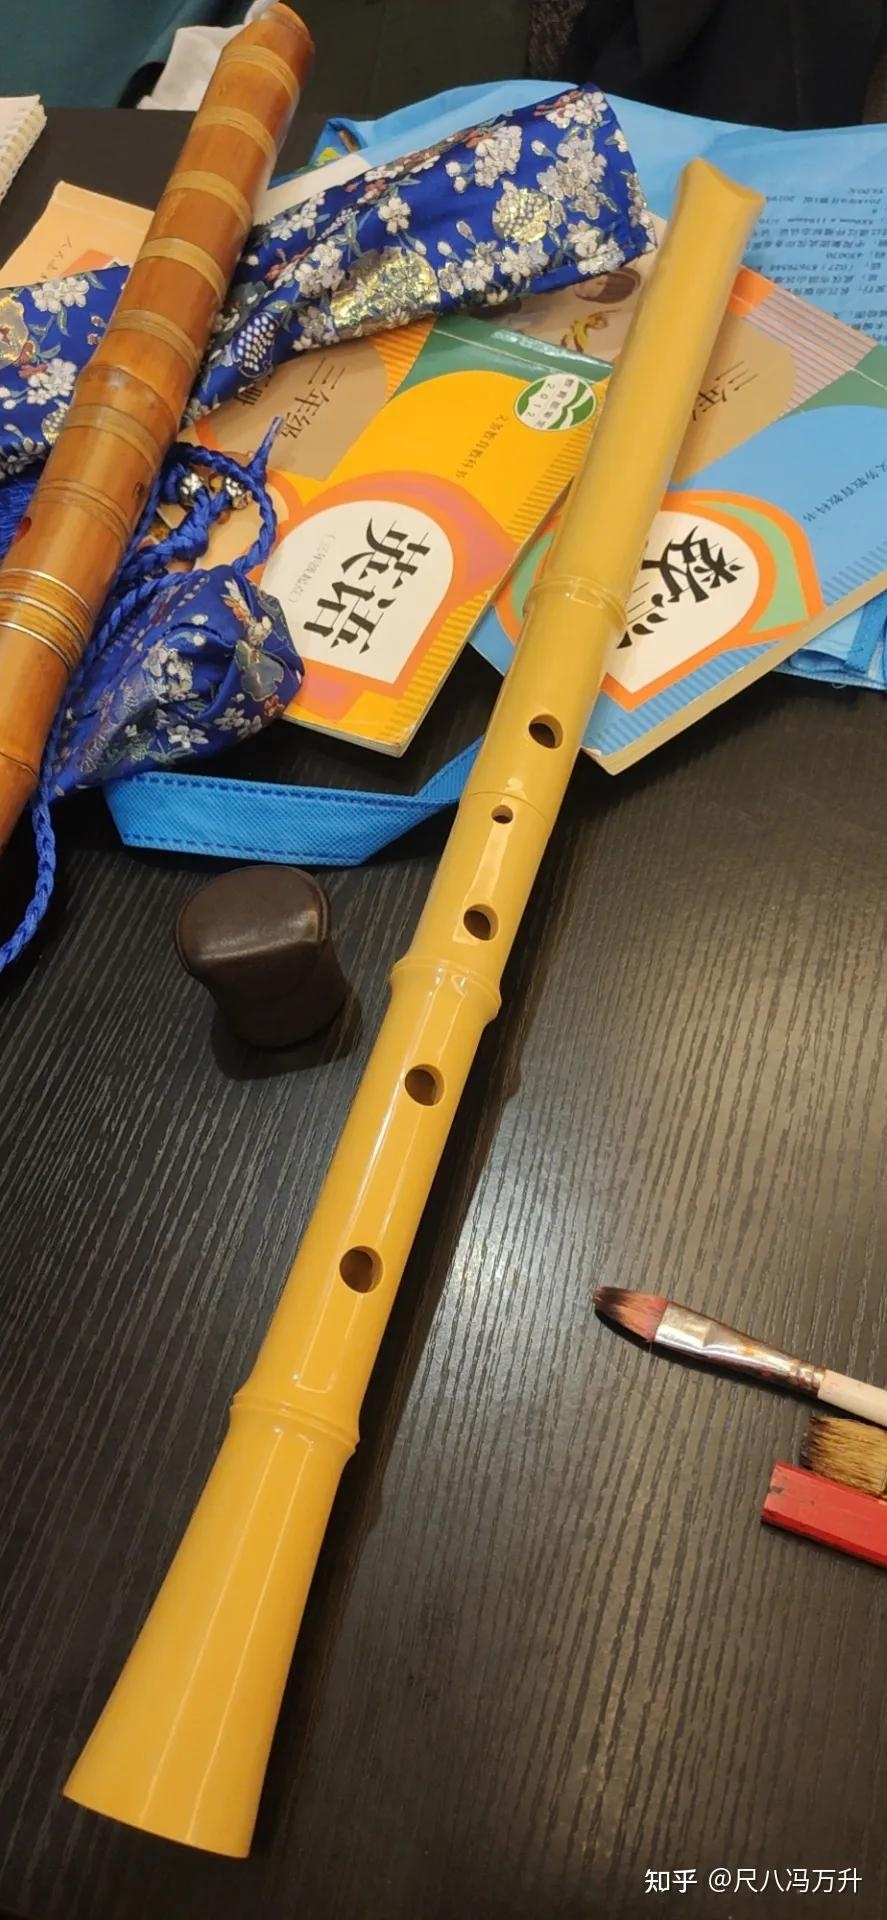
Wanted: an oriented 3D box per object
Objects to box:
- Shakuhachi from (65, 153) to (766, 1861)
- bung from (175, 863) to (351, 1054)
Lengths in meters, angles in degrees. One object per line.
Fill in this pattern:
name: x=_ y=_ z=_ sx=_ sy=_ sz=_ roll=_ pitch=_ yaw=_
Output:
Shakuhachi: x=0.045 y=-0.211 z=0.655 sx=0.119 sy=0.117 sz=1.078 roll=-10 pitch=62 yaw=51
bung: x=-0.071 y=-0.003 z=0.564 sx=0.055 sy=0.084 sz=0.054 roll=-6 pitch=61 yaw=1
